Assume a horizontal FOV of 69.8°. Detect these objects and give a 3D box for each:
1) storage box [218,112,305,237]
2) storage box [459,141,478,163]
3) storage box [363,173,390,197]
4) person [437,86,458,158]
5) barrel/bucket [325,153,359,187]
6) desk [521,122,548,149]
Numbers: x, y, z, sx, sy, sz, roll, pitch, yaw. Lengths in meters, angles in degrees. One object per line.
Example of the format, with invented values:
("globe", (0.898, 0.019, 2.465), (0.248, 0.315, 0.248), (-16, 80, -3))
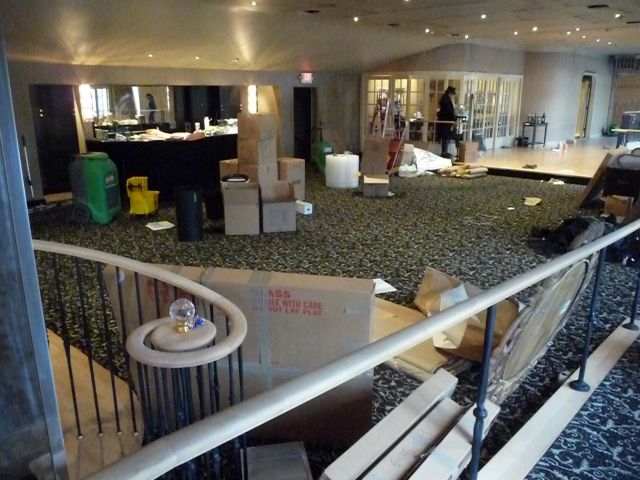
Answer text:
("storage box", (-0.913, -1.099, 6.913), (1.313, 1.512, 2.318), (-3, 16, -3))
("storage box", (3.743, -2.219, 11.679), (0.173, 0.493, 0.537), (11, 20, 43))
("storage box", (0.998, -0.997, 8.376), (0.403, 0.276, 0.449), (1, 28, 7))
("person", (3.428, -3.172, 12.479), (0.519, 1.849, 1.142), (3, 17, 15))
("barrel/bucket", (0.404, -1.365, 9.056), (0.632, 0.592, 0.640), (0, 12, 0))
("desk", (7.382, -3.629, 15.889), (0.821, 0.799, 1.003), (5, 18, 22))
